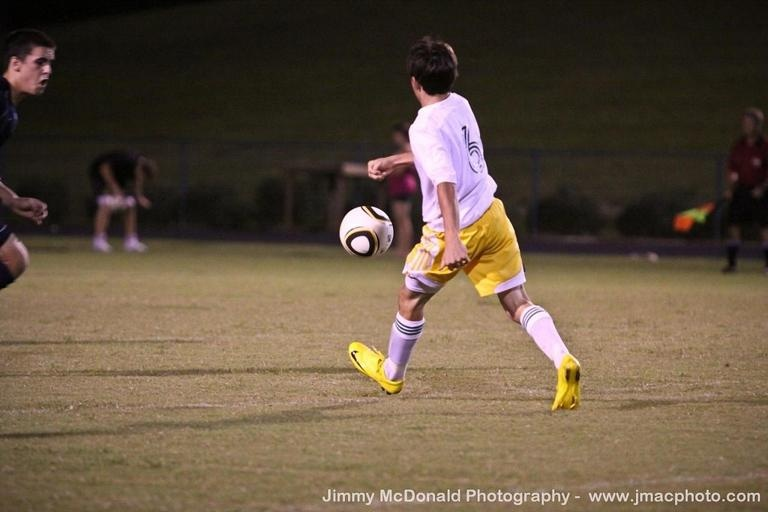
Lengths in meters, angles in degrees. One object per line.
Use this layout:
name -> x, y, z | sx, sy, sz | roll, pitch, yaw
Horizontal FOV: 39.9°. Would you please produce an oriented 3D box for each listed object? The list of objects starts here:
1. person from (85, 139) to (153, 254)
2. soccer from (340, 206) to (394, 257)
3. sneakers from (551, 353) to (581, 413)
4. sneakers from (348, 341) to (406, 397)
person -> -2.402, -0.503, 9.728 | 0.569, 0.897, 0.712 | -12, 20, -43
soccer -> -0.084, -0.221, 9.142 | 0.458, 0.425, 0.434 | 17, -34, -30
sneakers -> 1.490, 1.027, 8.673 | 0.258, 0.415, 0.210 | -5, 11, -20
sneakers -> -0.099, 0.952, 9.207 | 0.250, 0.245, 0.649 | -23, 48, -30
